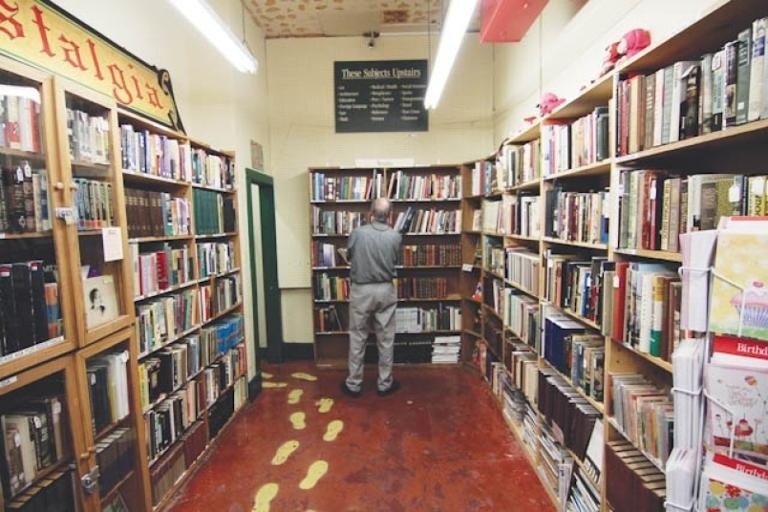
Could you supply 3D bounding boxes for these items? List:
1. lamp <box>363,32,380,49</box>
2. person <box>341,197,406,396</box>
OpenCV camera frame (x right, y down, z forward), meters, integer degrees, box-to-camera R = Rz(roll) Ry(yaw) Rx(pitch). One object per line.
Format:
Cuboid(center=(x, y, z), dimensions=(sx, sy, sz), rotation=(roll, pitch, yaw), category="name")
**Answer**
Cuboid(center=(-0.126, -2.286, 5.861), dimensions=(0.172, 0.131, 0.081), rotation=(-1, -35, -3), category="lamp")
Cuboid(center=(-0.120, 0.374, 5.258), dimensions=(0.562, 1.829, 0.272), rotation=(-2, 5, -5), category="person")
